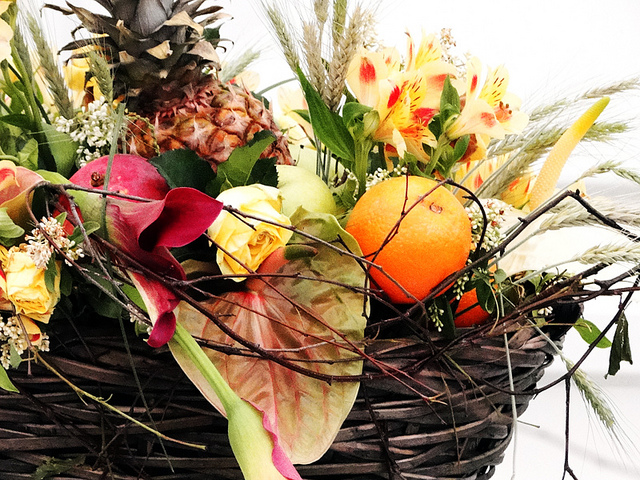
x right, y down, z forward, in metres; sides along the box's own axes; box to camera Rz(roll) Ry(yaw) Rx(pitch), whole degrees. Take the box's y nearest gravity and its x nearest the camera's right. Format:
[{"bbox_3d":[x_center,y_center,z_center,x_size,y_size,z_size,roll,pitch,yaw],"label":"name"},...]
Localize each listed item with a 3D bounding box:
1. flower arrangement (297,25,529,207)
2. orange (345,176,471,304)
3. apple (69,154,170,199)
[{"bbox_3d":[0.087,-0.136,0.921,0.218,0.218,0.233,38,42,26],"label":"flower arrangement"},{"bbox_3d":[0.106,0.005,0.881,0.176,0.142,0.139,1,36,-9],"label":"orange"},{"bbox_3d":[-0.219,-0.071,0.810,0.078,0.063,0.090,25,20,31],"label":"apple"}]
